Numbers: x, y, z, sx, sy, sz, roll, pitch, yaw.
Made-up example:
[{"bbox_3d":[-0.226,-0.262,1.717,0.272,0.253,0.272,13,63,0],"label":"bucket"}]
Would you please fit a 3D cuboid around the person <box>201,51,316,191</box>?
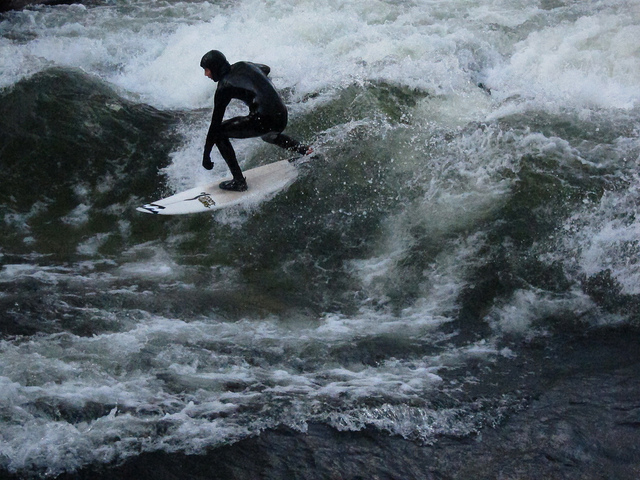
[{"bbox_3d":[-1.327,-2.091,18.238,1.631,2.624,0.651,-13,24,0],"label":"person"}]
